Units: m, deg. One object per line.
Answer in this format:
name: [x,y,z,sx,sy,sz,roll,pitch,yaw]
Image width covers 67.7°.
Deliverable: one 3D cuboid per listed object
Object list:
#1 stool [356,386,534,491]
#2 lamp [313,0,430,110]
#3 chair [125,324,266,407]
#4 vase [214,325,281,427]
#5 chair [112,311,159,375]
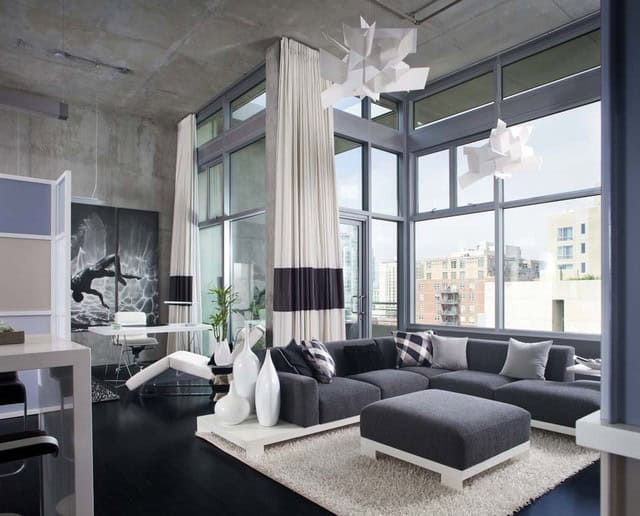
stool: [0.996,1.242,3.559,0.668,0.328,0.699,-1,0,-43]
lamp: [0.357,-1.556,3.694,0.772,0.537,0.734,2,-12,23]
chair: [-1.510,1.207,5.385,1.763,0.955,0.903,2,-7,-2]
vase: [-0.535,1.120,4.332,0.592,1.046,0.610,-4,-10,25]
chair: [-2.788,1.273,7.140,0.588,0.922,0.632,0,-7,-17]
